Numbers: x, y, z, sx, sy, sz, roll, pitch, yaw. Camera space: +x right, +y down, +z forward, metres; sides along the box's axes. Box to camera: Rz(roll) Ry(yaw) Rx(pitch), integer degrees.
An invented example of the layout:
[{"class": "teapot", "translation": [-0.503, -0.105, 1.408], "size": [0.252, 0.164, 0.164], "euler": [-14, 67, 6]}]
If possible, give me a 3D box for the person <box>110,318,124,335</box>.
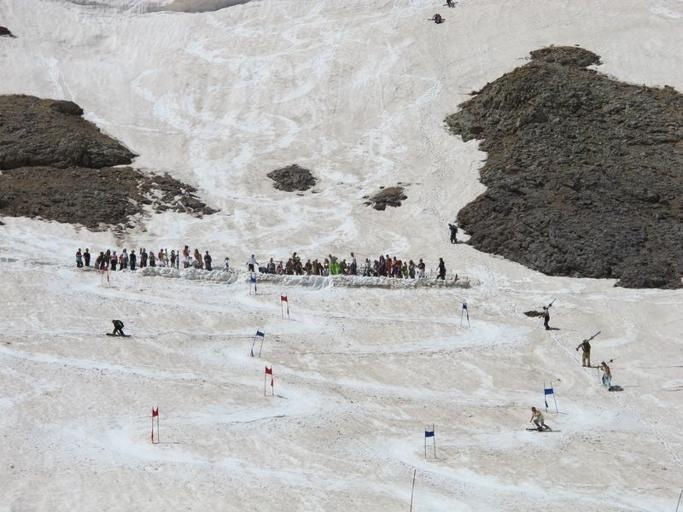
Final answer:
[{"class": "person", "translation": [-13.047, 4.178, 94.186], "size": [0.780, 0.960, 1.271], "euler": [0, 19, -8]}]
